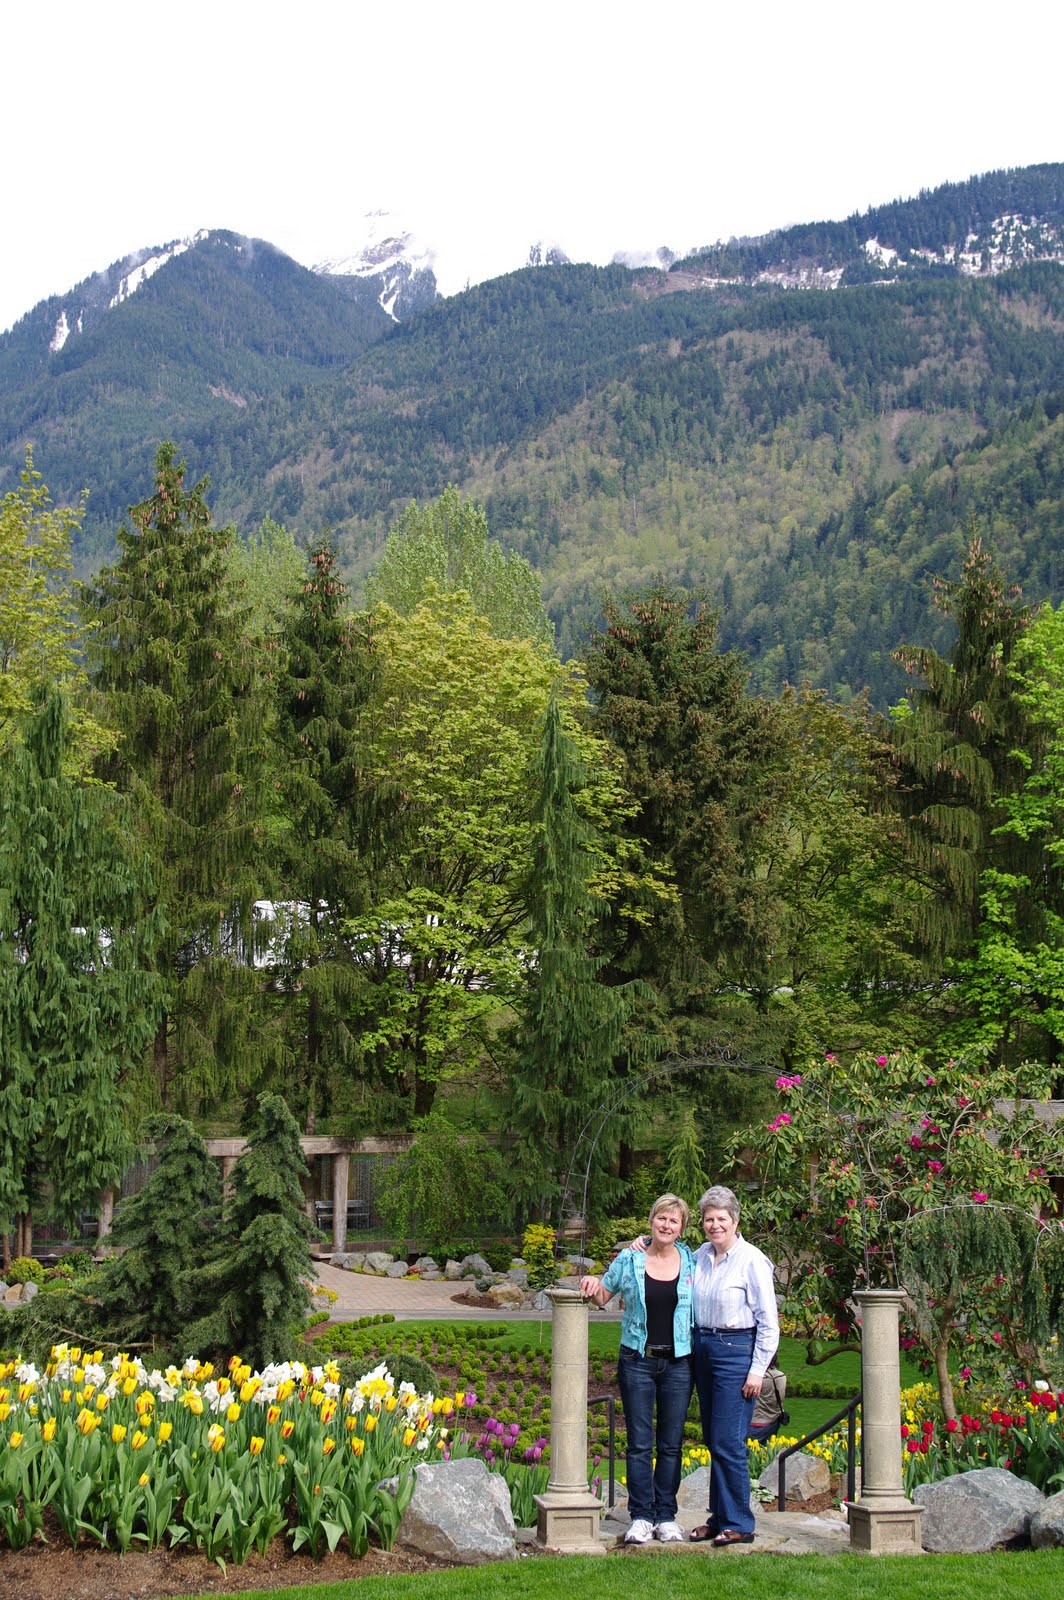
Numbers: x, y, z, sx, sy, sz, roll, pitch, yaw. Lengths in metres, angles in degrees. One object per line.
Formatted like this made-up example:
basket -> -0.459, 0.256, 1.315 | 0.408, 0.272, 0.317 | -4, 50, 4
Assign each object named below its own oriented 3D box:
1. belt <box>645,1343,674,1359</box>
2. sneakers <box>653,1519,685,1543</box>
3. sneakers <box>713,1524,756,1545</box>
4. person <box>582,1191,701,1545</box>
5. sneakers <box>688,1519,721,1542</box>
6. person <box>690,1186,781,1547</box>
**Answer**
belt -> 0.710, 3.090, 12.162 | 0.095, 0.048, 0.079 | 0, -2, -17
sneakers -> 0.767, 4.223, 12.535 | 0.077, 0.110, 0.222 | 1, -18, -6
sneakers -> 1.149, 4.235, 12.469 | 0.095, 0.104, 0.272 | -9, -22, 43
person -> 0.644, 3.259, 12.359 | 0.553, 1.980, 0.890 | -1, -7, 4
sneakers -> 0.997, 4.248, 12.588 | 0.093, 0.066, 0.151 | 5, 2, 12
person -> 1.139, 3.245, 12.371 | 0.496, 2.050, 0.658 | -1, -7, 3
